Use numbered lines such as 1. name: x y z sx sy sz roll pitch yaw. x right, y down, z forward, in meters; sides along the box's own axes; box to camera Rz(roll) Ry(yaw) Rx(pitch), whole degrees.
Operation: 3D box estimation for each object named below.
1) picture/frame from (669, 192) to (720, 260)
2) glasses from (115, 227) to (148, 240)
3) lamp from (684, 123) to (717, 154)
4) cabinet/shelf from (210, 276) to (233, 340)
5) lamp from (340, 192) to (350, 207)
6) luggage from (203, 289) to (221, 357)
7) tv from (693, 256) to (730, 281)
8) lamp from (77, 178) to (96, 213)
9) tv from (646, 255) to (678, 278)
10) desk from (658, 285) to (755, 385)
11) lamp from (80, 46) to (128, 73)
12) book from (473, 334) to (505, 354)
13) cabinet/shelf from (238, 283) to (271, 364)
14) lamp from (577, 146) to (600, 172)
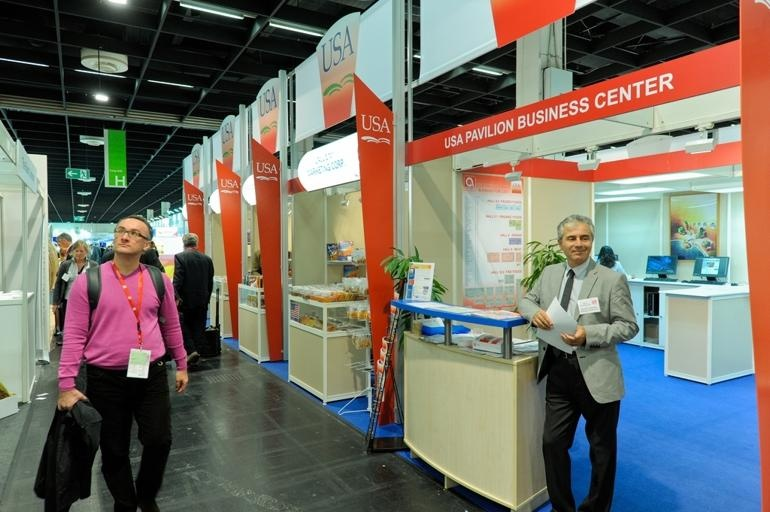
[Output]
1. picture/frame: 5.604 -0.533 9.859 0.057 1.654 1.170 1 1 -25
2. glasses: -2.028 -0.173 4.413 0.220 0.111 0.093 -7 14 -28
3. lamp: 2.672 -0.990 4.620 0.218 0.232 0.188 8 15 33
4. cabinet/shelf: -2.944 0.935 9.902 0.359 1.054 1.098 2 -8 -23
5. lamp: -0.595 -0.829 8.105 0.074 0.209 0.205 -6 9 -37
6. luggage: -2.869 1.104 8.913 0.399 1.076 0.283 -4 7 -44
7. tv: 5.528 0.226 9.310 0.221 0.492 0.649 -5 14 -22
8. lamp: -14.368 -2.916 26.355 0.788 1.449 0.877 1 -3 -5
9. tv: 5.086 0.213 10.031 0.502 0.481 0.549 12 17 42
10. desk: 4.318 0.860 7.753 0.989 0.872 0.943 -10 11 -25
11. lamp: -4.836 -3.340 9.425 0.510 0.205 0.517 1 1 -12
12. book: 0.911 0.770 4.850 0.315 0.143 0.141 9 16 36
13. cabinet/shelf: -2.034 1.074 8.587 0.475 1.221 1.162 -2 3 -28
14. lamp: 2.042 -0.980 5.491 0.171 0.227 0.550 3 13 14
